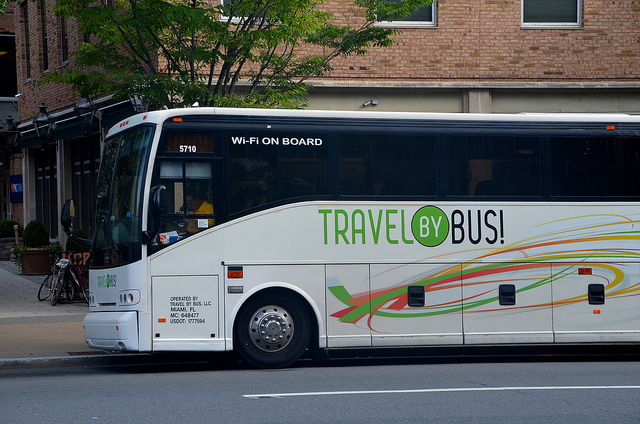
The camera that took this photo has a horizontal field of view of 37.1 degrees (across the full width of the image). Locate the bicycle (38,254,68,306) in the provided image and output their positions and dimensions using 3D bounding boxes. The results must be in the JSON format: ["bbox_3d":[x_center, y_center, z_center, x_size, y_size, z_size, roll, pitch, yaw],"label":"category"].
[{"bbox_3d":[-6.664,1.758,24.328,0.756,1.196,1.873,5,-7,-23],"label":"bicycle"}]

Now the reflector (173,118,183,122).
[{"bbox_3d":[-2.686,-1.745,17.930,0.161,0.073,0.032,-1,-3,-22],"label":"reflector"}]

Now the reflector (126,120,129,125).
[{"bbox_3d":[-3.712,-1.737,18.357,0.081,0.083,0.020,-1,-5,31],"label":"reflector"}]

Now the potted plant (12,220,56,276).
[{"bbox_3d":[-8.922,1.054,29.883,1.242,1.585,1.220,1,2,3],"label":"potted plant"}]
